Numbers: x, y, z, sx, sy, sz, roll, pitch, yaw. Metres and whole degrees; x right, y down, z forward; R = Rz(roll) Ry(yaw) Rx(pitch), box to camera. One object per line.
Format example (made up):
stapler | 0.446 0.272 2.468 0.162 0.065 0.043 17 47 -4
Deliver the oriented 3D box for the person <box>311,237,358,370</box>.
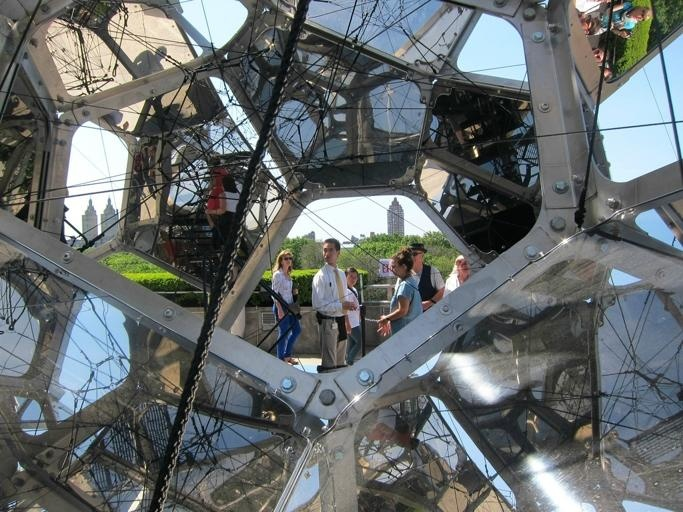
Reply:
person | -0.013 0.812 10.898 0.574 2.124 0.623 16 29 33

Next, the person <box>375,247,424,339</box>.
person | 0.765 0.842 9.941 0.528 1.839 0.618 1 5 14

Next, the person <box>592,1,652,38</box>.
person | 2.991 -2.494 8.038 0.217 0.290 0.725 -22 25 -22

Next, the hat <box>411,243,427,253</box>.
hat | 1.049 -0.120 10.493 0.132 0.065 0.162 9 2 -20

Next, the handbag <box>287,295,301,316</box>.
handbag | -0.673 0.729 10.895 0.176 0.340 0.330 1 -11 2

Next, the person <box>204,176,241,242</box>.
person | -1.599 -0.701 10.176 0.328 1.102 0.367 13 38 -5

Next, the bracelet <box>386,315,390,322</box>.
bracelet | 0.605 0.813 9.851 0.031 0.032 0.110 28 -29 15
